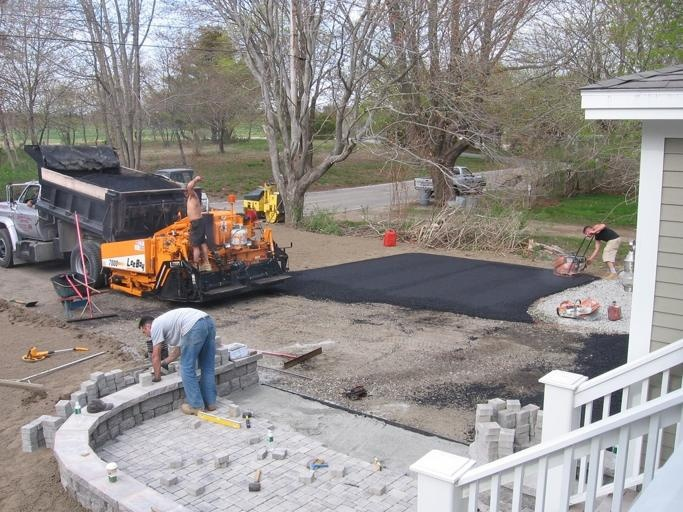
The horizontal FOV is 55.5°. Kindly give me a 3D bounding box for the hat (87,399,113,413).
[{"bbox_3d":[-3.020,1.856,8.081,0.259,0.083,0.163,0,8,-31],"label":"hat"}]

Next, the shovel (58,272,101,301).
[{"bbox_3d":[-5.581,0.717,13.404,0.960,0.330,0.671,16,18,40],"label":"shovel"}]

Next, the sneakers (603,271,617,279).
[{"bbox_3d":[6.610,0.467,15.927,0.312,0.162,0.332,0,12,18],"label":"sneakers"}]

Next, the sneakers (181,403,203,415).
[{"bbox_3d":[-2.056,2.070,8.856,0.324,0.107,0.120,10,18,18],"label":"sneakers"}]

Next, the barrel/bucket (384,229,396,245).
[{"bbox_3d":[1.547,-0.552,20.972,0.442,0.464,0.698,-4,12,3],"label":"barrel/bucket"}]

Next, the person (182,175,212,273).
[{"bbox_3d":[-2.906,-0.606,12.993,0.381,1.928,0.656,-9,15,-10],"label":"person"}]

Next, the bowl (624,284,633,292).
[{"bbox_3d":[6.347,0.722,14.387,0.258,0.142,0.237,-4,12,1],"label":"bowl"}]

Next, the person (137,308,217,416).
[{"bbox_3d":[-2.162,1.405,8.808,0.812,1.447,0.568,2,16,26],"label":"person"}]
